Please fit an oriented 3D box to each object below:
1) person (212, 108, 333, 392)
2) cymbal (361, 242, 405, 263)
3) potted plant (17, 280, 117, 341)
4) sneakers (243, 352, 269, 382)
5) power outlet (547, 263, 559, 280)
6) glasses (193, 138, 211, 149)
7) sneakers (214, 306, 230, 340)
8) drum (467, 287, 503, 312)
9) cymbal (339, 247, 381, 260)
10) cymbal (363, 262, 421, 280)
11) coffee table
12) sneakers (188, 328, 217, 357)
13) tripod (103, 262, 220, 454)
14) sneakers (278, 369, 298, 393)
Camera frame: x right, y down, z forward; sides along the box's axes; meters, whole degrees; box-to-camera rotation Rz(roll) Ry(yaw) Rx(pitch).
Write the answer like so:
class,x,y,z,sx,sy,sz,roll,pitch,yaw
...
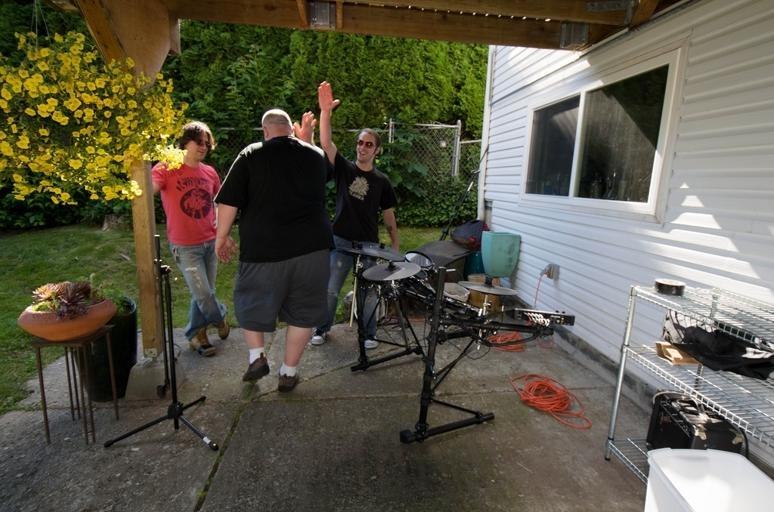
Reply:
class,x,y,z,sx,sy,sz,roll,pitch,yaw
person,-0.919,0.109,4.082,0.915,2.207,0.459,-7,14,-26
cymbal,-0.047,-0.002,4.613,0.384,0.222,0.803,-1,11,-3
potted plant,-2.452,0.418,3.593,0.523,0.289,0.542,-1,1,-11
sneakers,-1.100,0.937,3.971,0.197,0.250,0.109,-3,12,-11
power outlet,1.928,0.172,5.508,0.094,0.188,0.189,0,5,-4
glasses,-1.742,-1.052,4.438,0.124,0.038,0.124,-5,-5,41
sneakers,-1.743,0.728,5.055,0.138,0.379,0.163,-3,9,-2
drum,0.969,0.429,4.731,0.356,0.248,0.354,8,3,-1
cymbal,-0.229,-0.040,4.387,0.207,0.055,0.241,4,6,7
cymbal,0.036,0.130,4.108,0.265,0.057,0.251,-10,22,-9
coffee table,-2.566,0.979,3.939,0.574,0.871,0.891,-10,15,-37
sneakers,-1.964,0.894,4.850,0.436,0.279,0.147,3,4,32
tripod,-1.825,0.735,4.055,0.823,1.414,1.154,-3,12,-8
sneakers,-0.890,1.115,4.292,0.125,0.146,0.220,4,18,3
